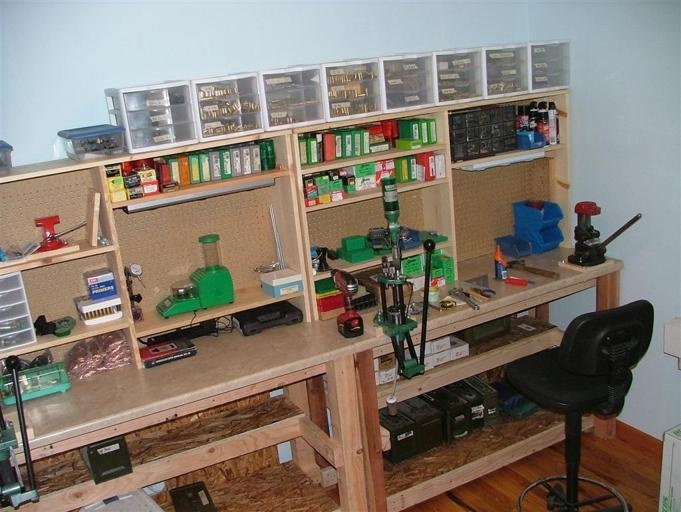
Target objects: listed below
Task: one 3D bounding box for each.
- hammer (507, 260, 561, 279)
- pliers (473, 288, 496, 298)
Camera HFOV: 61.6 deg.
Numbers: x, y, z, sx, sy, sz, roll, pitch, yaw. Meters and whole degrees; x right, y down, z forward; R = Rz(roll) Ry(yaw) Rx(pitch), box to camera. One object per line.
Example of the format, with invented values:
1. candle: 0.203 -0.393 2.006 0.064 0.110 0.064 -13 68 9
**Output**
1. hammer: 1.299 0.089 3.787 0.109 0.027 0.279 -14 21 -36
2. pliers: 0.898 0.219 3.512 0.076 0.017 0.071 -8 14 -40
